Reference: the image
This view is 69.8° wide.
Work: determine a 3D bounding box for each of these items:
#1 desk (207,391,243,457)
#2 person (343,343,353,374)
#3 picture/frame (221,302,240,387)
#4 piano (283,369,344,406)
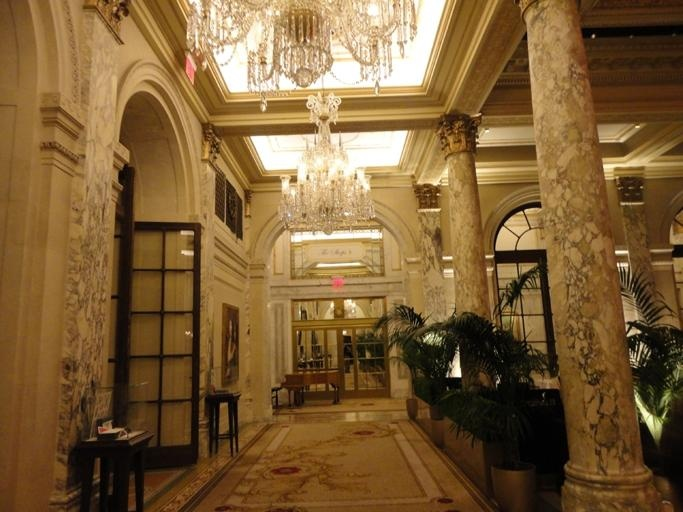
[{"bbox_3d":[-1.925,2.708,7.867,0.439,0.860,0.532,-1,-15,-8],"label":"desk"},{"bbox_3d":[0.207,3.181,15.574,0.325,1.077,0.155,-1,-8,-2],"label":"person"},{"bbox_3d":[-2.251,1.774,9.920,0.046,1.596,1.470,3,-6,-27],"label":"picture/frame"},{"bbox_3d":[-0.810,3.589,13.802,1.305,0.787,1.257,2,-12,-5],"label":"piano"}]
